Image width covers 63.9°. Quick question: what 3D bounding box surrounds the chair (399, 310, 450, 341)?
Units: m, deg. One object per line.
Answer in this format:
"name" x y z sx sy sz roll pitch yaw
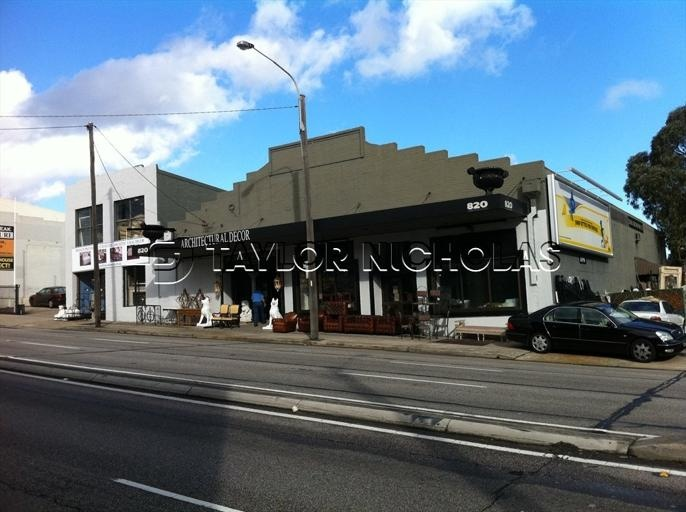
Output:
"chair" 3.258 2.915 22.238 1.231 0.681 1.273 0 0 27

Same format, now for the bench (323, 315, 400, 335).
"bench" 0.732 2.947 23.576 3.419 0.867 0.461 -5 -8 28

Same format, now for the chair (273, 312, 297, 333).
"chair" -2.623 2.994 24.692 0.815 0.843 0.797 -4 -8 36

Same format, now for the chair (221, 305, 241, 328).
"chair" -5.367 2.950 26.872 0.812 1.425 1.047 -1 -5 13

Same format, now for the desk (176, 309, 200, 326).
"desk" -8.120 3.171 28.723 1.172 0.972 2.138 2 -8 -17
